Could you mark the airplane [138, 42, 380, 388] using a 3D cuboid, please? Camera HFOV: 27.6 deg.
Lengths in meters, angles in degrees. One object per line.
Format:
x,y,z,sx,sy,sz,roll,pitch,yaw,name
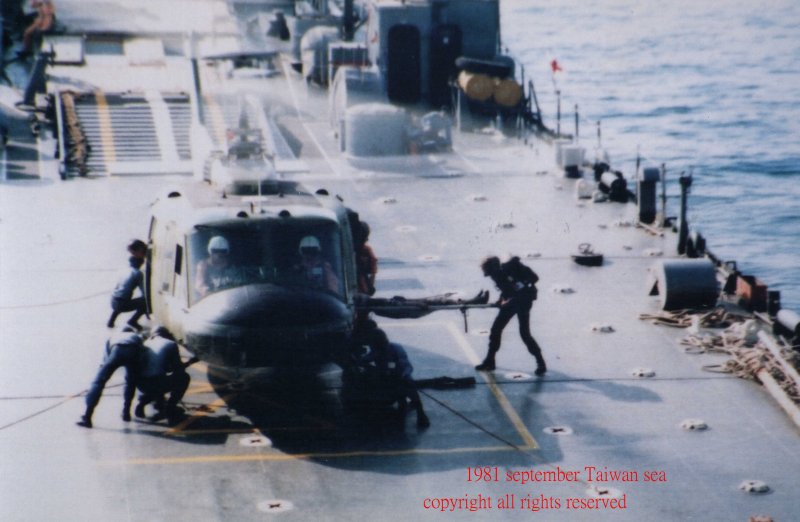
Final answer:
-5.295,0.368,64.250,7.918,6.416,15.948,-1,6,-6,airplane
